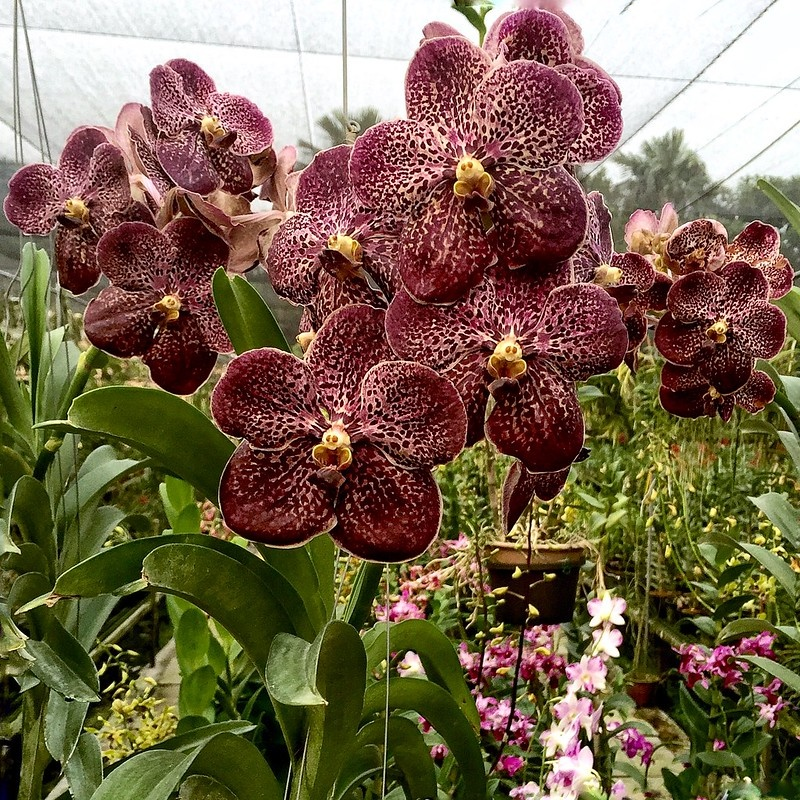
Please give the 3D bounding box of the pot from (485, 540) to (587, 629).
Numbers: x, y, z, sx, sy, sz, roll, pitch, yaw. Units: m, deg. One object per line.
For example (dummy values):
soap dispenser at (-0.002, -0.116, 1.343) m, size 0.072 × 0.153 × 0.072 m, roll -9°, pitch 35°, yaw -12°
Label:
pot at (0.182, 0.245, 1.201) m, size 0.118 × 0.091 × 0.123 m, roll 1°, pitch -19°, yaw 0°
